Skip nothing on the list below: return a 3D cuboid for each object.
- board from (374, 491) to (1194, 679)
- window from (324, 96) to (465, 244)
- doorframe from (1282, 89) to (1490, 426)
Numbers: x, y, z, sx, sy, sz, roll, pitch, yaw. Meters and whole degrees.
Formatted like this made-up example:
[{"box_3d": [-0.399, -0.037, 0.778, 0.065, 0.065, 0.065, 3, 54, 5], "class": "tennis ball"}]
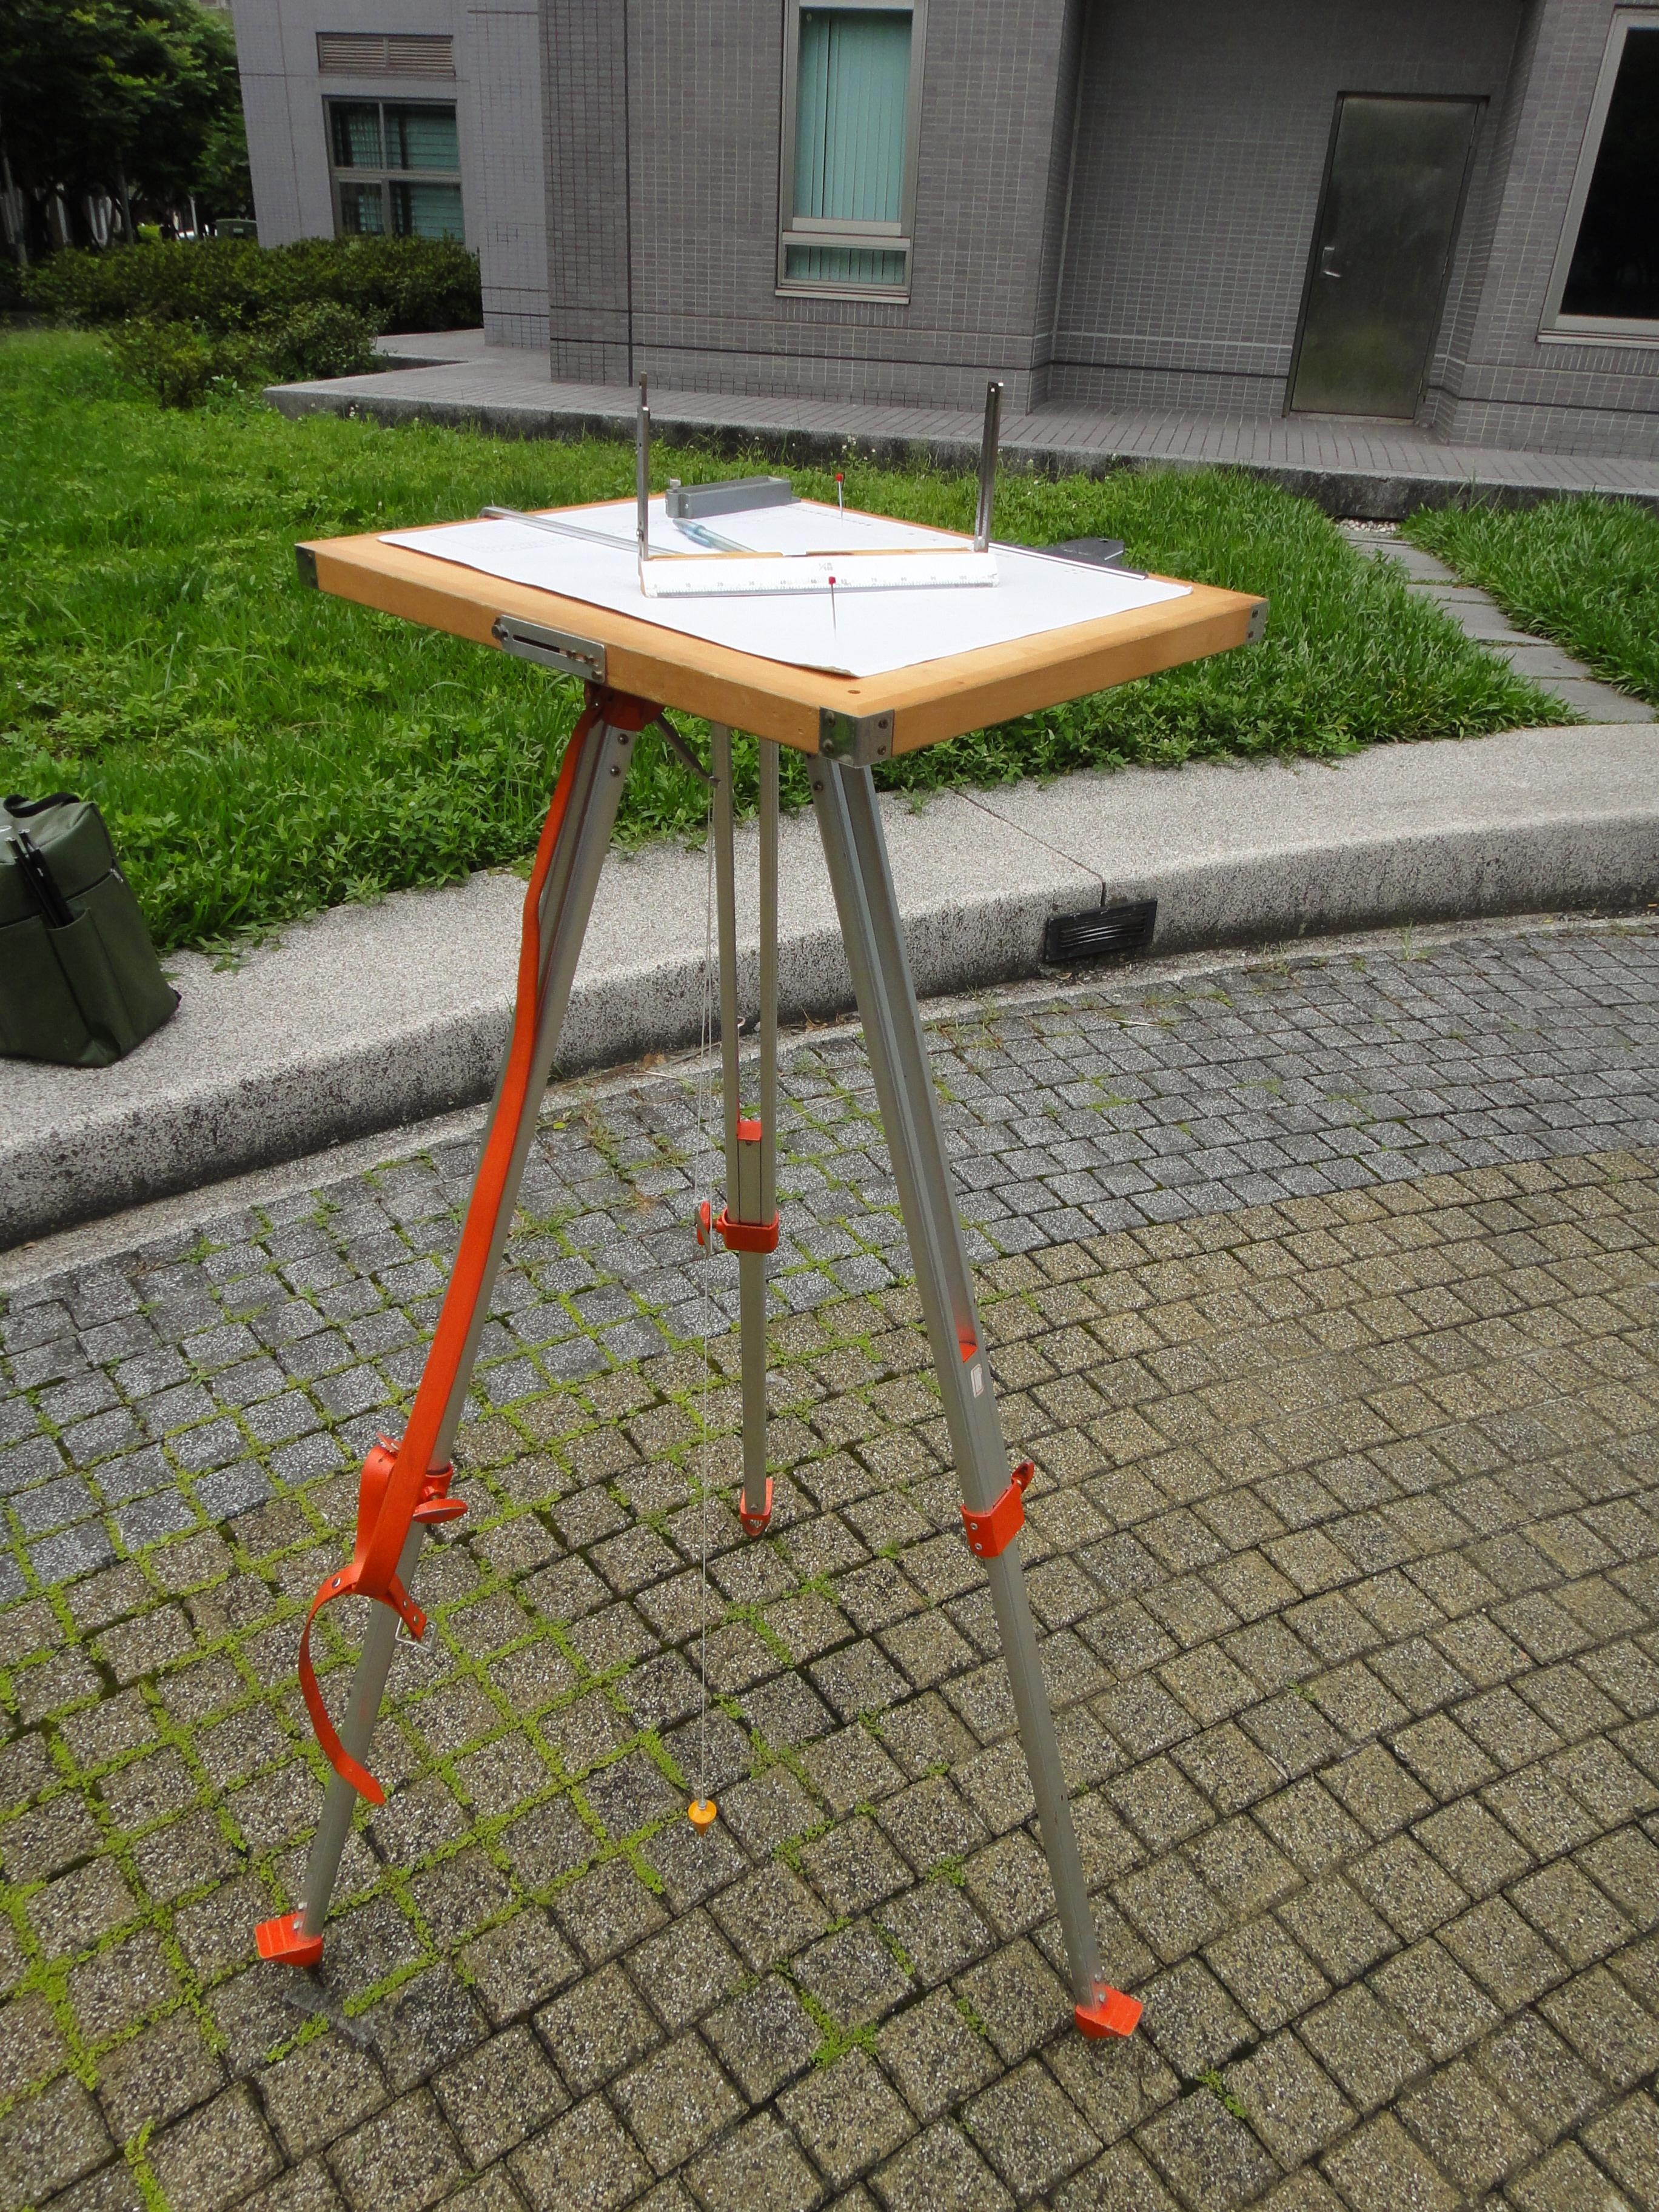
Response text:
[{"box_3d": [-0.074, -0.507, 1.516, 0.695, 0.042, 0.615, 24, 34, 29], "class": "board"}, {"box_3d": [-5.250, -11.292, 19.411, 1.499, 1.405, 1.092, -3, 30, -15], "class": "window"}, {"box_3d": [4.062, -6.190, 11.808, 1.030, 2.076, 0.404, 11, 29, 10], "class": "doorframe"}]
